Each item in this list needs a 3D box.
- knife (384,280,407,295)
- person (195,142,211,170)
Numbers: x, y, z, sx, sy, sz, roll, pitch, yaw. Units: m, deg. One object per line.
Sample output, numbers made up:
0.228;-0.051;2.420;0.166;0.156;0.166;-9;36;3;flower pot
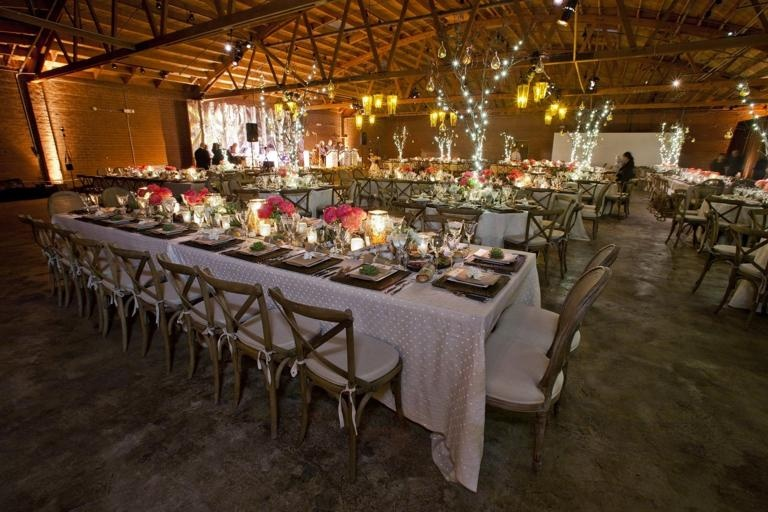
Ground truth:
0.131;0.304;4.708;0.088;0.031;0.295;19;33;31;knife
-4.851;-2.722;12.888;0.380;0.683;1.338;-5;16;-19;person
